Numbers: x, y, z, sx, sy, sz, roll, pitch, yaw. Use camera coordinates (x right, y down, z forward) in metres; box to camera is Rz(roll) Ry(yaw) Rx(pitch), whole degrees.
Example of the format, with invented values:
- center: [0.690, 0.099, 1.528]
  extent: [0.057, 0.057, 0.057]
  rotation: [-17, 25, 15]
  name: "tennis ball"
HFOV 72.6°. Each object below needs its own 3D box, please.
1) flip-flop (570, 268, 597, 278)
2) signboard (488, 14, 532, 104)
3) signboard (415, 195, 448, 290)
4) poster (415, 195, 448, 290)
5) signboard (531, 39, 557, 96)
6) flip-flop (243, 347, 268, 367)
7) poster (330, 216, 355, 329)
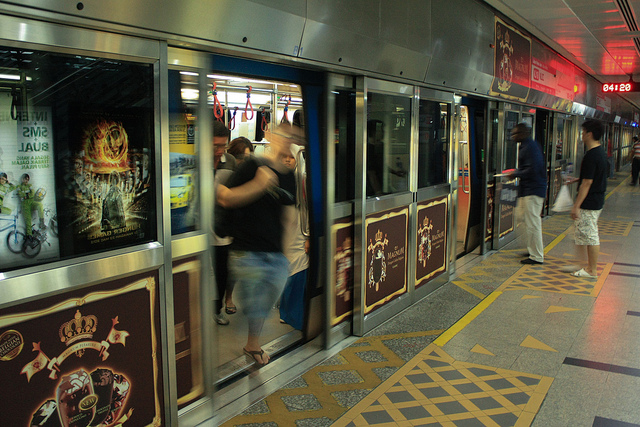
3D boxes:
- center: [4.220, 0.937, 6.919]
  extent: [0.334, 0.135, 0.123]
  rotation: [7, 5, 23]
  name: "flip-flop"
- center: [3.852, -2.884, 8.519]
  extent: [0.027, 1.363, 2.384]
  rotation: [5, 11, 40]
  name: "signboard"
- center: [1.591, 0.411, 6.249]
  extent: [0.108, 1.491, 1.301]
  rotation: [4, 7, 34]
  name: "signboard"
- center: [1.588, 0.411, 6.245]
  extent: [0.107, 1.476, 1.298]
  rotation: [5, 8, 35]
  name: "poster"
- center: [5.091, -3.325, 10.008]
  extent: [1.895, 1.084, 0.023]
  rotation: [-2, 3, -41]
  name: "signboard"
- center: [-0.637, 1.434, 4.407]
  extent: [0.259, 0.076, 0.103]
  rotation: [39, 15, 14]
  name: "flip-flop"
- center: [0.254, 0.655, 4.844]
  extent: [0.097, 1.172, 0.477]
  rotation: [6, 11, 31]
  name: "poster"
